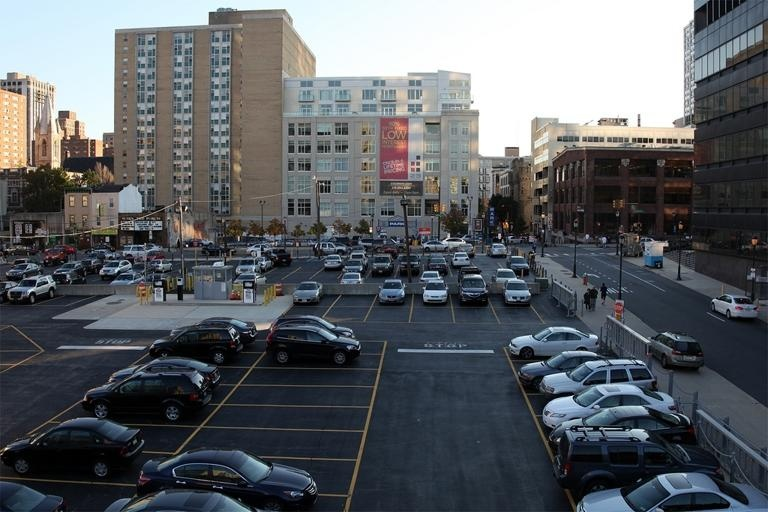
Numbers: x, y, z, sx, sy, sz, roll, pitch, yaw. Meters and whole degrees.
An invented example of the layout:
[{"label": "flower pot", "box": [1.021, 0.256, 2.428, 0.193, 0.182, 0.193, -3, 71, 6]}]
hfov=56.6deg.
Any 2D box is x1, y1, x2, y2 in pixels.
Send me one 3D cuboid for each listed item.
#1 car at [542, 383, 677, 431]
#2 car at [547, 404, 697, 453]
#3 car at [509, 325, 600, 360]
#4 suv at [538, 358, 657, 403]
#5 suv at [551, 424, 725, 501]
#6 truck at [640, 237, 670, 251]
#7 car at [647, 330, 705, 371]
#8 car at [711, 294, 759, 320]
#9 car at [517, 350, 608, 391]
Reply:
[{"label": "car", "box": [11.376, 7.807, 36.205, 6.592, 2.141, 2.877, -1, 2, 2]}, {"label": "car", "box": [11.455, 7.903, 34.141, 6.177, 2.051, 2.603, 1, 0, 5]}, {"label": "car", "box": [10.536, 5.328, 44.245, 5.445, 1.736, 2.375, 0, 4, 0]}, {"label": "suv", "box": [11.427, 6.832, 38.505, 6.298, 2.227, 2.714, -1, 5, -5]}, {"label": "suv", "box": [11.424, 9.232, 33.018, 6.904, 3.026, 3.148, -6, 9, 4]}, {"label": "truck", "box": [32.825, -1.522, 87.078, 3.787, 1.837, 2.223, 2, 6, 13]}, {"label": "car", "box": [17.784, 5.615, 43.861, 2.117, 1.923, 4.437, 4, 8, 0]}, {"label": "car", "box": [25.731, 3.775, 52.727, 1.338, 1.640, 3.036, -5, 7, -23]}, {"label": "car", "box": [10.231, 6.363, 40.225, 5.531, 1.861, 2.307, -1, 8, -6]}]
